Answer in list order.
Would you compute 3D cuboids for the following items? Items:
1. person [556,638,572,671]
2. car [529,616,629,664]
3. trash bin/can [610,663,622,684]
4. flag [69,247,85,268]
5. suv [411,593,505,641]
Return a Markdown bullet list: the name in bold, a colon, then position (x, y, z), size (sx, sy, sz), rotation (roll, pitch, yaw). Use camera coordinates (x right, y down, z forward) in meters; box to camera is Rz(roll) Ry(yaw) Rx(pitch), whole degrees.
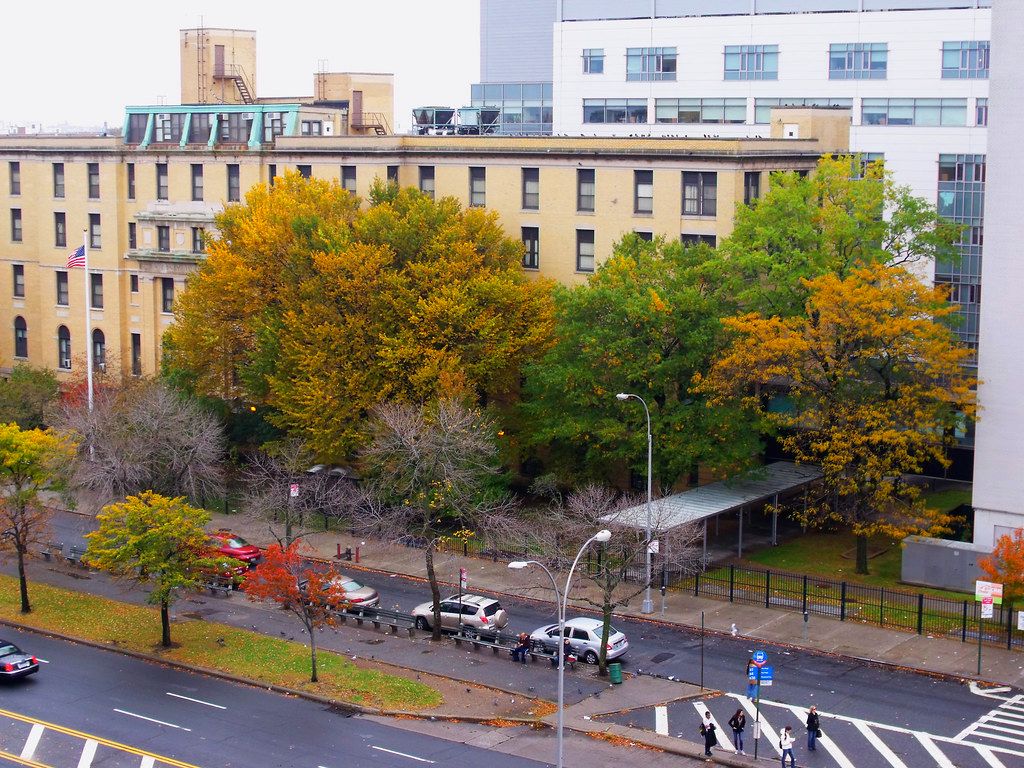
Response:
- **person**: position (2.887, 14.791, 130.698), size (1.049, 1.000, 1.662), rotation (4, 17, 7)
- **car**: position (3.763, 13.841, 131.731), size (4.550, 1.651, 2.433), rotation (9, 16, 26)
- **trash bin/can**: position (5.461, 15.417, 129.006), size (0.712, 1.088, 1.074), rotation (2, 2, 3)
- **flag**: position (-29.088, -8.185, 159.583), size (0.991, 1.360, 2.492), rotation (1, 2, -11)
- **suv**: position (-3.080, 12.969, 135.172), size (4.857, 1.977, 2.370), rotation (7, 4, 23)
